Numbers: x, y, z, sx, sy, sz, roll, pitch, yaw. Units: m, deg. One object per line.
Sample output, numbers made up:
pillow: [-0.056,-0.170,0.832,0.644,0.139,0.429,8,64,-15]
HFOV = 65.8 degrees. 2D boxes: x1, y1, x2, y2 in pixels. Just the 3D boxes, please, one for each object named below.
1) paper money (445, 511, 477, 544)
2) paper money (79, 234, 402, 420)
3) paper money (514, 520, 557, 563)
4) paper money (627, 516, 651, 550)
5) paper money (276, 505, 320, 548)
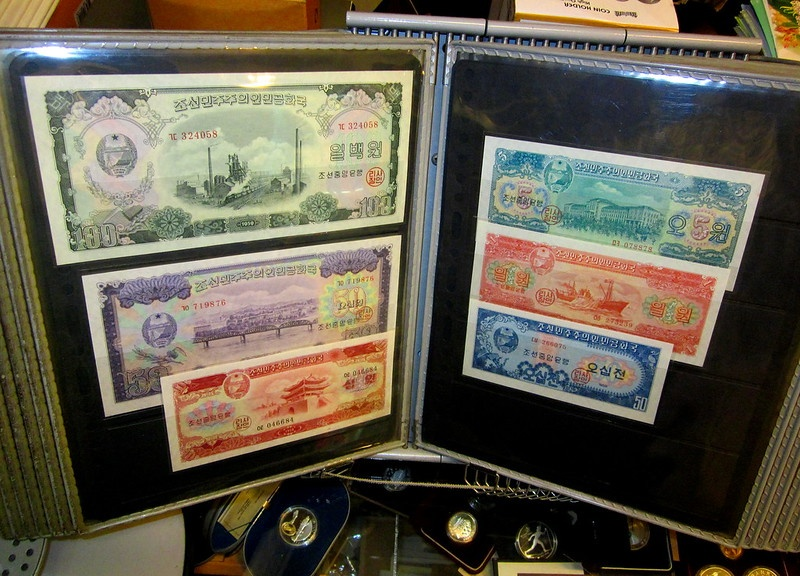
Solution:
paper money: [0.136,0.523,1.341,0.059,0.038,0.063,14,26,32]
paper money: [-0.298,0.061,1.088,0.402,0.191,0.007,-10,31,-20]
paper money: [0.293,0.548,1.331,0.089,0.054,0.061,1,22,4]
paper money: [0.512,0.536,1.329,0.056,0.013,0.055,33,66,8]
paper money: [-0.214,0.508,1.308,0.080,0.052,0.059,-3,22,-6]
